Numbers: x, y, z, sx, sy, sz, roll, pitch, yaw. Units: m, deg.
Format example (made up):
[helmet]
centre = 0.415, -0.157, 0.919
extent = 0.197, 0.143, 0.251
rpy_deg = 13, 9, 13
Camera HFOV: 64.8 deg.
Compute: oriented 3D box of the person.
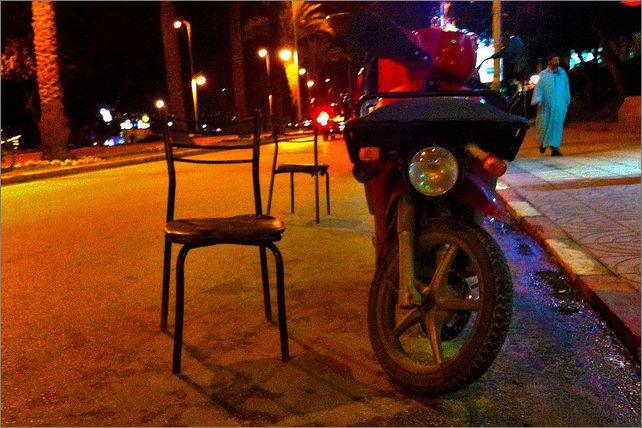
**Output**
[person]
centre = 6.238, -2.945, 13.636
extent = 0.880, 2.695, 1.215
rpy_deg = 4, 15, 25
